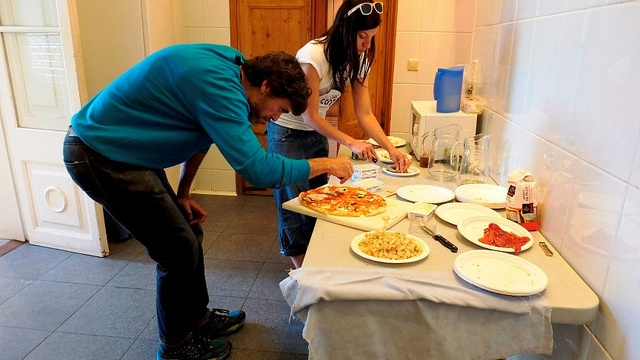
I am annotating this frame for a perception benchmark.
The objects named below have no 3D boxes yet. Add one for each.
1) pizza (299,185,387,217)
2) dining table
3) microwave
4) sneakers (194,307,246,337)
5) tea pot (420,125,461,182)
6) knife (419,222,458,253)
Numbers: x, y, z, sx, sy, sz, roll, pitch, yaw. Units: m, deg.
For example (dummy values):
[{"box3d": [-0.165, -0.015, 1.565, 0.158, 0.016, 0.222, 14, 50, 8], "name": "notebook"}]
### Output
[{"box3d": [0.154, 0.142, 2.698, 0.324, 0.042, 0.261, 9, 18, 27], "name": "pizza"}, {"box3d": [0.738, 0.412, 2.328, 1.136, 0.355, 1.552, 3, 25, 1], "name": "dining table"}, {"box3d": [0.982, -0.485, 3.434, 0.488, 0.430, 0.651, 0, 23, 1], "name": "microwave"}, {"box3d": [-0.697, 1.033, 3.051, 0.388, 0.163, 0.136, -10, 26, -21], "name": "sneakers"}, {"box3d": [0.793, -0.203, 3.161, 0.479, 0.437, 0.272, 0, 4, 22], "name": "tea pot"}, {"box3d": [0.683, 0.331, 2.410, 0.067, 0.035, 0.312, -12, 23, -15], "name": "knife"}]
